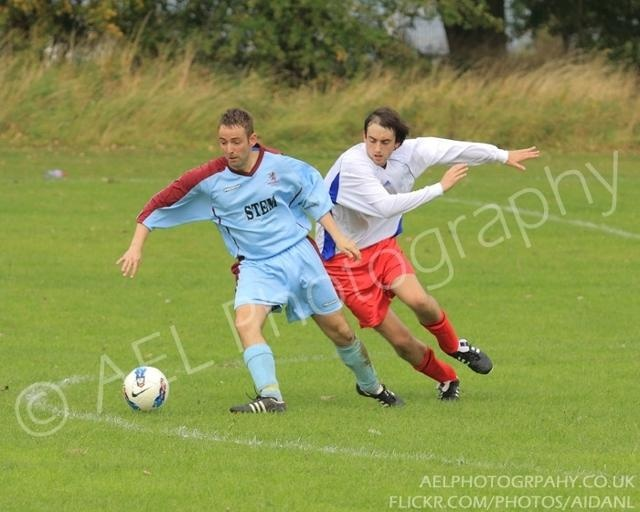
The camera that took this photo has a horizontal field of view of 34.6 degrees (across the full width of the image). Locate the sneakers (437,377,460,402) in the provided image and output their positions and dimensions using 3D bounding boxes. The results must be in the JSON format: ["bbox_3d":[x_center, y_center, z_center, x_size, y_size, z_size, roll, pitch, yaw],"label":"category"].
[{"bbox_3d":[1.195,1.250,9.490,0.117,0.160,0.233,-8,8,3],"label":"sneakers"}]

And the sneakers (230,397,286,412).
[{"bbox_3d":[-0.546,1.318,8.954,0.459,0.189,0.167,3,-5,-3],"label":"sneakers"}]

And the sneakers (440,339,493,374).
[{"bbox_3d":[1.429,0.955,9.787,0.541,0.233,0.188,15,43,34],"label":"sneakers"}]

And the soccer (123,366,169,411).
[{"bbox_3d":[-1.502,1.176,9.132,0.382,0.374,0.421,1,39,-1],"label":"soccer"}]
